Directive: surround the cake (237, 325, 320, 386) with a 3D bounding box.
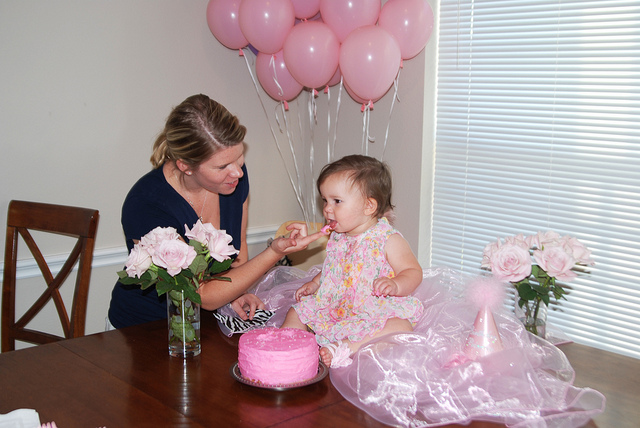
[{"bbox_3d":[-0.148,0.497,1.664,0.291,0.147,0.196,-6,17,-2],"label":"cake"}]

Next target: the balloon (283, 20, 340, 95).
[{"bbox_3d":[-0.019,-1.008,3.082,0.339,0.476,0.360,-1,8,4],"label":"balloon"}]

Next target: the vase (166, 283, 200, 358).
[{"bbox_3d":[-0.506,0.415,1.756,0.105,0.276,0.122,6,15,14],"label":"vase"}]

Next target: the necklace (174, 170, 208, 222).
[{"bbox_3d":[-0.613,-0.088,2.289,0.140,0.262,0.070,-10,17,-18],"label":"necklace"}]

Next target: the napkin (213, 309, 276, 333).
[{"bbox_3d":[-0.306,0.447,2.028,0.183,0.070,0.270,4,11,30],"label":"napkin"}]

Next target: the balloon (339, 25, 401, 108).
[{"bbox_3d":[0.303,-0.917,2.941,0.348,0.471,0.214,5,19,29],"label":"balloon"}]

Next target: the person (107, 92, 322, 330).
[{"bbox_3d":[-0.550,0.032,2.327,0.875,1.133,0.688,1,28,-15],"label":"person"}]

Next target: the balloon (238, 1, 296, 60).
[{"bbox_3d":[-0.324,-1.179,3.004,0.296,0.391,0.289,-40,39,-20],"label":"balloon"}]

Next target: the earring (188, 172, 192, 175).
[{"bbox_3d":[-0.591,-0.184,2.139,0.008,0.009,0.003,3,48,6],"label":"earring"}]

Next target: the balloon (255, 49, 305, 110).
[{"bbox_3d":[-0.290,-0.939,3.245,0.266,0.451,0.266,-7,35,23],"label":"balloon"}]

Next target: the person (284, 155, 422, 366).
[{"bbox_3d":[0.082,0.178,2.036,0.612,0.819,0.589,-5,3,-30],"label":"person"}]

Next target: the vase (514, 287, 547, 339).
[{"bbox_3d":[0.879,0.422,1.941,0.093,0.169,0.097,-7,13,-6],"label":"vase"}]

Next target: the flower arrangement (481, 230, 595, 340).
[{"bbox_3d":[0.852,0.255,1.945,0.435,0.399,0.417,-1,-7,24],"label":"flower arrangement"}]

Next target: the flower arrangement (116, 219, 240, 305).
[{"bbox_3d":[-0.523,0.182,1.728,0.431,0.260,0.178,-9,17,-13],"label":"flower arrangement"}]
